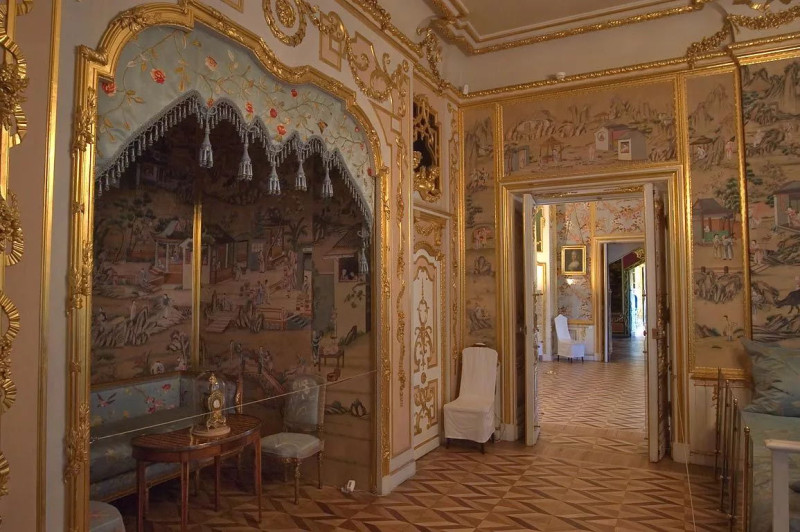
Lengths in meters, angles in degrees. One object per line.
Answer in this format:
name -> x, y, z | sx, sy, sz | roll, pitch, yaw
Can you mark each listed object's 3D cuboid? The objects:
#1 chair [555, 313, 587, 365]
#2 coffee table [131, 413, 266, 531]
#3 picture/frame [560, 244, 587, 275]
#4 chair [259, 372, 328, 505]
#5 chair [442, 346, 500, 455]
chair -> 3.621, 1.552, 13.488 | 0.496, 0.865, 0.593 | -1, 5, -32
coffee table -> -1.703, 1.683, 5.148 | 0.610, 0.779, 1.111 | -1, -3, 30
picture/frame -> 3.850, -0.133, 13.885 | 0.680, 0.787, 0.062 | 0, -4, 30
chair -> -1.026, 1.563, 6.131 | 0.404, 0.884, 0.607 | 4, 7, 16
chair -> 0.875, 1.561, 7.721 | 0.588, 1.025, 0.713 | 4, 7, 19
